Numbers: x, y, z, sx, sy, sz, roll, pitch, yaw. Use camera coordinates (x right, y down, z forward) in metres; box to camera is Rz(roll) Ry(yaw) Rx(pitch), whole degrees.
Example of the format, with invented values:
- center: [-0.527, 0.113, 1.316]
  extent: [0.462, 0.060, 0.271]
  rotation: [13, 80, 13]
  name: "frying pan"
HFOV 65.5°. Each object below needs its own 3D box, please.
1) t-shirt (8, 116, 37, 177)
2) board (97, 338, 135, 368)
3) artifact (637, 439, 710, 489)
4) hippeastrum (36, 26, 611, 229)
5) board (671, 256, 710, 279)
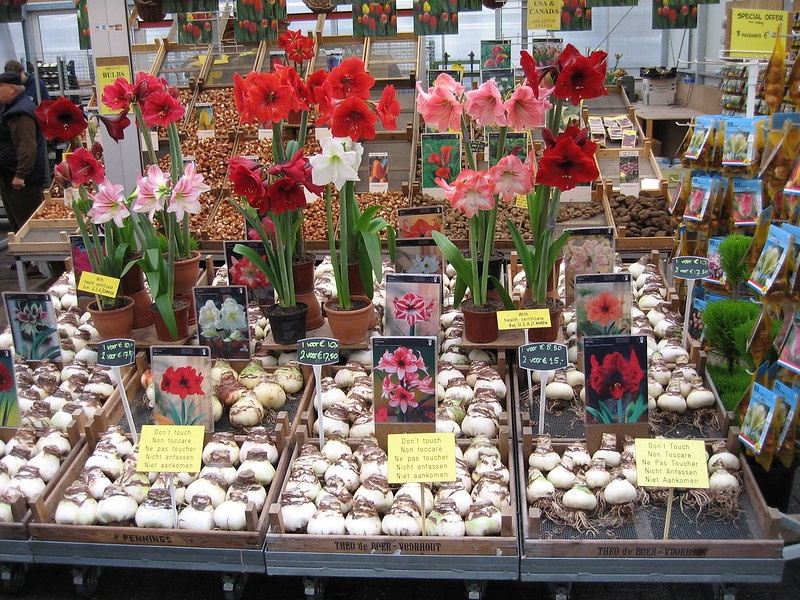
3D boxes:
- center: [-3.726, -1.544, 6.226]
  extent: [0.329, 0.506, 0.164]
  rotation: [-6, 6, -1]
  name: "t-shirt"
- center: [-1.331, 0.249, 2.917]
  extent: [0.150, 0.129, 0.009]
  rotation: [-1, 7, 5]
  name: "board"
- center: [1.069, 0.649, 2.443]
  extent: [0.280, 0.194, 0.122]
  rotation: [-1, 23, 5]
  name: "artifact"
- center: [-0.118, -0.737, 3.094]
  extent: [2.143, 0.904, 0.867]
  rotation: [4, 24, 16]
  name: "hippeastrum"
- center: [1.535, -0.164, 3.288]
  extent: [0.173, 0.125, 0.127]
  rotation: [6, 25, 19]
  name: "board"
